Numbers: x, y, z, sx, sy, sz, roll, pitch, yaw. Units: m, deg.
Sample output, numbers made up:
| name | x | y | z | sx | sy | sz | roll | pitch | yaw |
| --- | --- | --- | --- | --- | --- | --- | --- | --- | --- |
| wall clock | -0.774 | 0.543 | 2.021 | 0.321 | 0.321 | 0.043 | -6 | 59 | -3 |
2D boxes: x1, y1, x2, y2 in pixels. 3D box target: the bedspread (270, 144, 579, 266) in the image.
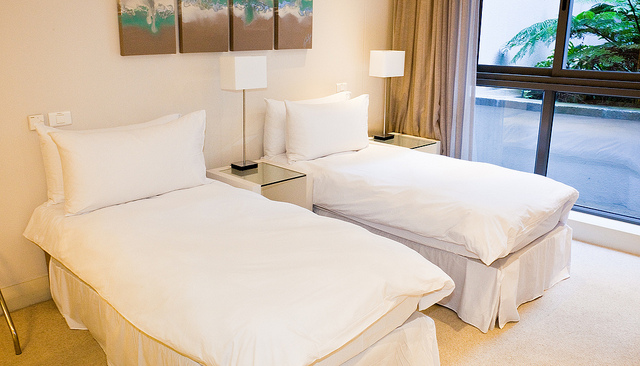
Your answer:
| name | x | y | z | sx | sy | sz | roll | pitch | yaw |
| --- | --- | --- | --- | --- | --- | --- | --- | --- | --- |
| bedspread | 0.887 | 0.039 | 3.995 | 2.133 | 0.482 | 1.339 | 18 | 28 | 33 |

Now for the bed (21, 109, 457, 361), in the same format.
| name | x | y | z | sx | sy | sz | roll | pitch | yaw |
| --- | --- | --- | --- | --- | --- | --- | --- | --- | --- |
| bed | -0.939 | 0.501 | 3.419 | 3.086 | 1.558 | 1.977 | 17 | 24 | 40 |

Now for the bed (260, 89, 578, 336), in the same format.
| name | x | y | z | sx | sy | sz | roll | pitch | yaw |
| --- | --- | --- | --- | --- | --- | --- | --- | --- | --- |
| bed | 0.413 | 0.152 | 4.355 | 3.253 | 1.671 | 2.070 | 15 | 23 | 42 |

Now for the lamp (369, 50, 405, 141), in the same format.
| name | x | y | z | sx | sy | sz | roll | pitch | yaw |
| --- | --- | --- | --- | --- | --- | --- | --- | --- | --- |
| lamp | 0.846 | -1.062 | 5.229 | 0.376 | 1.045 | 0.420 | -10 | 19 | -43 |

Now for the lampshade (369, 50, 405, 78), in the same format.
| name | x | y | z | sx | sy | sz | roll | pitch | yaw |
| --- | --- | --- | --- | --- | --- | --- | --- | --- | --- |
| lampshade | 0.770 | -1.425 | 5.124 | 0.383 | 0.363 | 0.364 | -9 | 19 | -29 |
